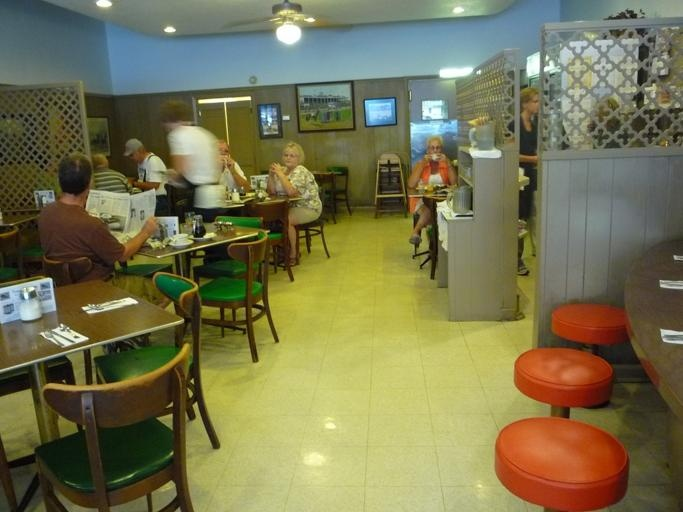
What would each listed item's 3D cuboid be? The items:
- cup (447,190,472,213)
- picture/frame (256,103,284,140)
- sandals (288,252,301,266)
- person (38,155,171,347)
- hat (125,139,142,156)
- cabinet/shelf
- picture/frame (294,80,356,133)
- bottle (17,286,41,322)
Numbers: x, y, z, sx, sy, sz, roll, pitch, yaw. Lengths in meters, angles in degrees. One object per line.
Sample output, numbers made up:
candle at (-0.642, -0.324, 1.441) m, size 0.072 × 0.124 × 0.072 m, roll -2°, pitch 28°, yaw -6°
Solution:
cup at (1.022, -0.470, 4.755) m, size 0.190 × 0.218 × 0.152 m, roll 2°, pitch 14°, yaw 24°
picture/frame at (-1.303, -2.511, 10.119) m, size 0.677 × 0.862 × 0.058 m, roll 0°, pitch 14°, yaw 4°
sandals at (-0.581, 0.059, 6.789) m, size 0.149 × 0.139 × 0.071 m, roll 0°, pitch 7°, yaw -12°
person at (-1.784, -0.163, 4.071) m, size 0.747 × 1.180 × 0.490 m, roll -13°, pitch 16°, yaw -34°
hat at (-2.869, -1.502, 7.601) m, size 0.207 × 0.200 × 0.252 m, roll -8°, pitch 14°, yaw -18°
cabinet/shelf at (1.134, -0.127, 4.825) m, size 0.582 × 1.551 × 1.618 m, roll 0°, pitch 7°, yaw 6°
picture/frame at (-0.279, -2.751, 9.958) m, size 0.956 × 0.737 × 0.042 m, roll 0°, pitch 8°, yaw 3°
bottle at (-1.672, 0.257, 2.945) m, size 0.107 × 0.179 × 0.077 m, roll -10°, pitch 14°, yaw -23°
